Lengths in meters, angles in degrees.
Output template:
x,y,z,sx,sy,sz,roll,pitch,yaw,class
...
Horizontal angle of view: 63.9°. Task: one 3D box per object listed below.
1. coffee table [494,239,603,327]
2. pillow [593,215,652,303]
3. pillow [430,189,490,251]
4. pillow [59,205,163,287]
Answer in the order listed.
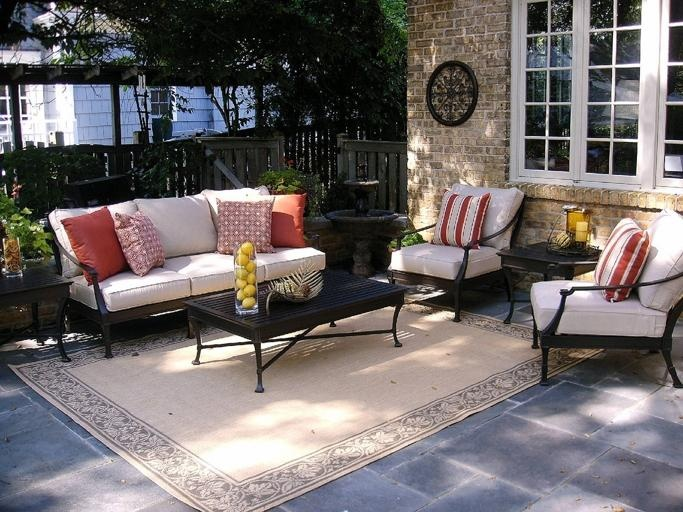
x,y,z,sx,sy,sz,roll,pitch,yaw,class
1.935,0.293,5.442,0.991,0.712,1.068,11,16,44,coffee table
2.251,0.037,4.375,0.338,0.477,0.755,20,36,15,pillow
1.324,-0.387,6.042,0.470,0.625,0.930,-16,18,-42,pillow
-2.129,-0.132,5.083,0.919,0.686,0.267,-17,-15,-45,pillow
